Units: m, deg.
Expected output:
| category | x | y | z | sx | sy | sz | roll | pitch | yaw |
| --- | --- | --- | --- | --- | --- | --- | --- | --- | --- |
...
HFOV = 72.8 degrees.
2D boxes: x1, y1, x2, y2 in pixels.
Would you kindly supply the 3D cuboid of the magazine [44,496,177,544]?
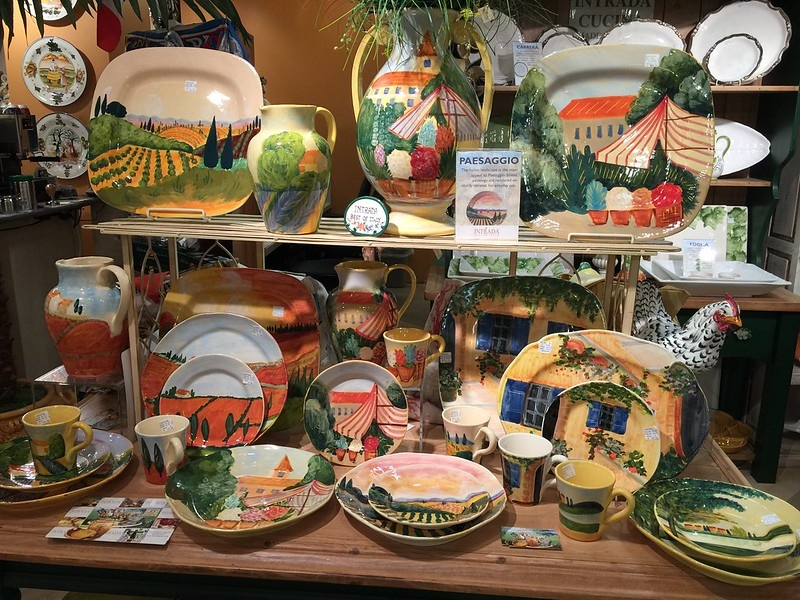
| category | x | y | z | sx | sy | sz | roll | pitch | yaw |
| --- | --- | --- | --- | --- | --- | --- | --- | --- | --- |
| magazine | -0.673 | 0.529 | 1.311 | 0.294 | 0.051 | 0.129 | 3 | 8 | 4 |
